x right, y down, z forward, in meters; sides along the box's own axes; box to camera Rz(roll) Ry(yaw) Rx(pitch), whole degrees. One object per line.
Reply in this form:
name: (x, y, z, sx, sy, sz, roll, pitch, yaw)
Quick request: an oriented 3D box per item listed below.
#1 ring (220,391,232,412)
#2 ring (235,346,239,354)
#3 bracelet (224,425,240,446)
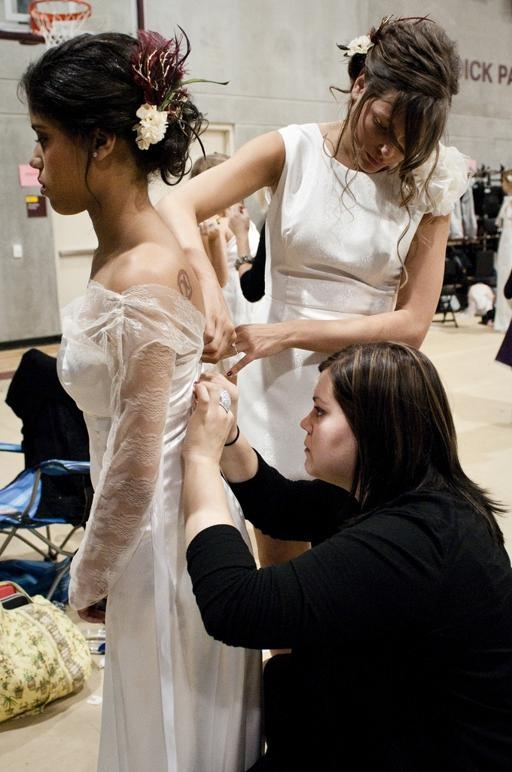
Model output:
ring: (-0.051, 0.026, 1.154, 0.020, 0.033, 0.027, -6, 21, -2)
ring: (-0.041, -0.075, 1.407, 0.008, 0.013, 0.007, -16, 1, 36)
bracelet: (-0.041, 0.091, 1.301, 0.009, 0.035, 0.037, 37, 14, -1)
